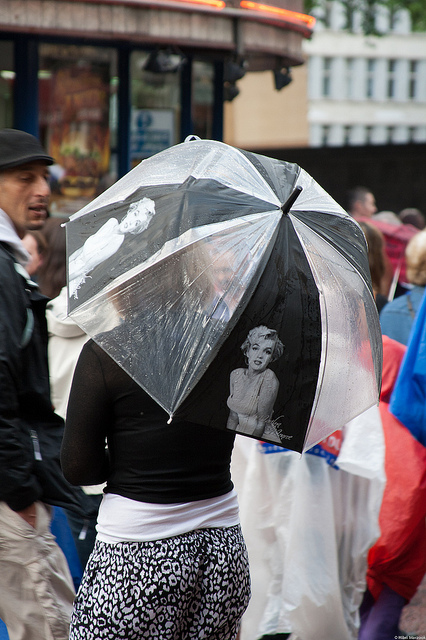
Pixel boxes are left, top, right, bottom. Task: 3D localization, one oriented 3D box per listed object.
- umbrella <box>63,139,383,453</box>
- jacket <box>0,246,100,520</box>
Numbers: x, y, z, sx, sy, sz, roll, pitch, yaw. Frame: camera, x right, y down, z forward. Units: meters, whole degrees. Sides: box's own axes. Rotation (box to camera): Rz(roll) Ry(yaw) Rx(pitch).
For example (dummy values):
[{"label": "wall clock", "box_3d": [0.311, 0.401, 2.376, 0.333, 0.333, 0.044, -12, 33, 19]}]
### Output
[{"label": "umbrella", "box_3d": [0.068, -0.085, 3.615, 1.018, 0.882, 0.524, 1, 11, -9]}, {"label": "jacket", "box_3d": [-0.630, 0.247, 4.178, 0.282, 0.986, 0.437, 12, 15, 43]}]
